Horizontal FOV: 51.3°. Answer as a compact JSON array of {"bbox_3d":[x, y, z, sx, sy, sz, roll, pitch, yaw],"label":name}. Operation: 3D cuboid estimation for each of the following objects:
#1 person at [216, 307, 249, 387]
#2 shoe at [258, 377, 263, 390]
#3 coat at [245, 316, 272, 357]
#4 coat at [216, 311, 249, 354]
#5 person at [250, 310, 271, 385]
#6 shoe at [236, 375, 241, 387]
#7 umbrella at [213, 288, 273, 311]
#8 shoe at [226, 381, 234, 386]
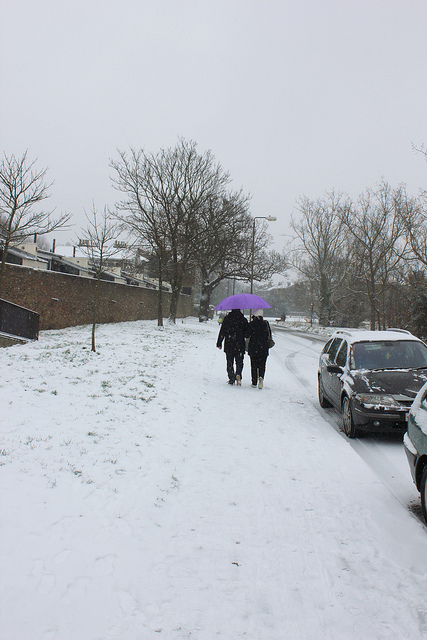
[{"bbox_3d":[0.445,0.579,9.988,0.665,1.747,1.718,2,1,2],"label":"person"},{"bbox_3d":[1.023,1.339,9.543,0.067,0.254,0.091,1,-10,1],"label":"shoe"},{"bbox_3d":[0.970,0.335,9.587,0.511,0.864,0.390,2,2,-17],"label":"coat"},{"bbox_3d":[0.441,0.263,9.739,0.678,0.951,0.459,2,2,-10],"label":"coat"},{"bbox_3d":[1.025,0.583,9.669,0.441,1.631,0.582,2,2,10],"label":"person"},{"bbox_3d":[0.571,1.340,9.868,0.055,0.241,0.091,-2,-11,7],"label":"shoe"},{"bbox_3d":[0.669,-0.420,10.097,1.111,0.396,0.941,3,1,-12],"label":"umbrella"},{"bbox_3d":[0.393,1.395,9.977,0.142,0.089,0.079,4,2,27],"label":"shoe"}]
